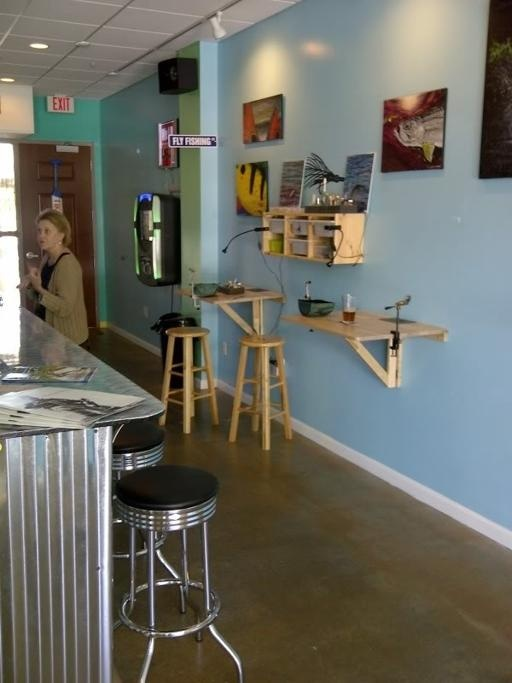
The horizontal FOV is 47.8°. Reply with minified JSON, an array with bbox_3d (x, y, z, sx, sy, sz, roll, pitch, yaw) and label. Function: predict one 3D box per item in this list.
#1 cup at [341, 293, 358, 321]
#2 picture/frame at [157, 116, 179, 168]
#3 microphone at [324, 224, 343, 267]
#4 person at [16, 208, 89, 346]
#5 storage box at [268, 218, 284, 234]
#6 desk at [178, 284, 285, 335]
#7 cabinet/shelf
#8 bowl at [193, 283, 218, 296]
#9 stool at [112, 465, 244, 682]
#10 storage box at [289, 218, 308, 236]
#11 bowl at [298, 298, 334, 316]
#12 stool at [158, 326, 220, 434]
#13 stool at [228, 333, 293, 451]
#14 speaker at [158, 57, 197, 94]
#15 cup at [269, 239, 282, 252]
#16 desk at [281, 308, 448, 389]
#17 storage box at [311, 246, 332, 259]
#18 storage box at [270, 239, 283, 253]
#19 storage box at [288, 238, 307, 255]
[{"bbox_3d":[0.486,-0.182,3.034,0.062,0.133,0.131,1,9,8],"label":"cup"},{"bbox_3d":[-0.835,-1.905,5.535,0.097,0.441,0.436,-3,10,-21],"label":"picture/frame"},{"bbox_3d":[0.437,-0.560,3.288,0.063,0.224,0.123,-5,10,-30],"label":"microphone"},{"bbox_3d":[-1.216,-0.382,3.473,0.384,0.841,0.554,-4,10,-22],"label":"person"},{"bbox_3d":[0.136,-0.788,3.879,0.089,0.068,0.131,-5,15,-15],"label":"storage box"},{"bbox_3d":[-0.139,-0.269,4.303,0.479,0.521,0.557,-5,11,-26],"label":"desk"},{"bbox_3d":[0.330,-0.676,3.621,0.206,0.291,0.769,-6,15,-31],"label":"cabinet/shelf"},{"bbox_3d":[-0.354,-0.374,4.146,0.186,0.096,0.090,-3,10,-19],"label":"bowl"},{"bbox_3d":[-0.275,0.687,1.928,0.365,0.655,0.739,-2,9,-14],"label":"stool"},{"bbox_3d":[0.270,-0.722,3.612,0.100,0.105,0.147,-2,5,-39],"label":"storage box"},{"bbox_3d":[0.326,-0.208,3.301,0.114,0.068,0.147,-1,13,-24],"label":"bowl"},{"bbox_3d":[-0.500,0.262,4.318,0.449,0.730,0.437,-1,9,-8],"label":"stool"},{"bbox_3d":[0.035,0.299,3.905,0.373,0.691,0.371,-15,23,-41],"label":"stool"},{"bbox_3d":[-0.630,-2.182,4.709,0.177,0.232,0.318,-8,18,-28],"label":"speaker"},{"bbox_3d":[0.132,-0.658,3.908,0.072,0.051,0.098,8,16,25],"label":"cup"},{"bbox_3d":[0.548,0.074,3.057,0.492,0.413,0.778,-4,10,-24],"label":"desk"},{"bbox_3d":[0.397,-0.537,3.434,0.093,0.060,0.092,-15,25,-37],"label":"storage box"},{"bbox_3d":[0.142,-0.655,3.911,0.081,0.065,0.096,3,17,1],"label":"storage box"},{"bbox_3d":[0.270,-0.603,3.654,0.091,0.097,0.133,-13,23,-33],"label":"storage box"}]
